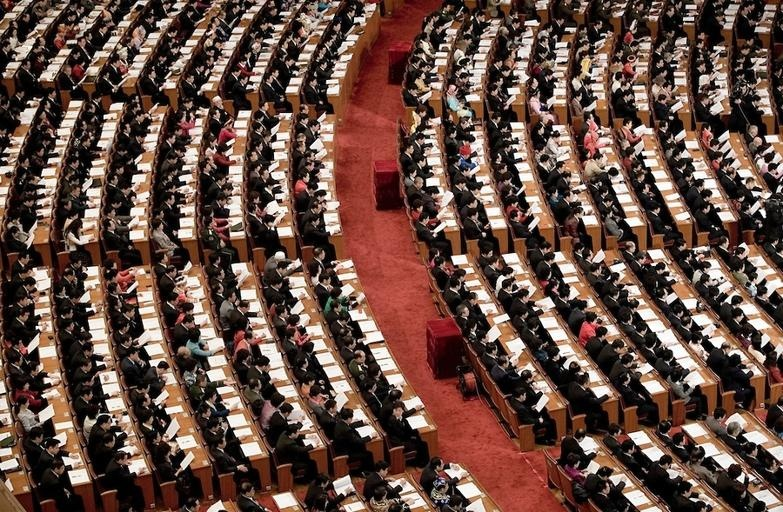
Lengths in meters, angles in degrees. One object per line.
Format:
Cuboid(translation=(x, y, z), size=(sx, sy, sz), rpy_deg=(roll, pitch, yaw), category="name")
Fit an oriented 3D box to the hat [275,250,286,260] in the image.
Cuboid(translation=(-3.324, 0.002, 28.337), size=(0.279, 0.218, 0.206), rpy_deg=(-2, 47, -12), category="hat")
